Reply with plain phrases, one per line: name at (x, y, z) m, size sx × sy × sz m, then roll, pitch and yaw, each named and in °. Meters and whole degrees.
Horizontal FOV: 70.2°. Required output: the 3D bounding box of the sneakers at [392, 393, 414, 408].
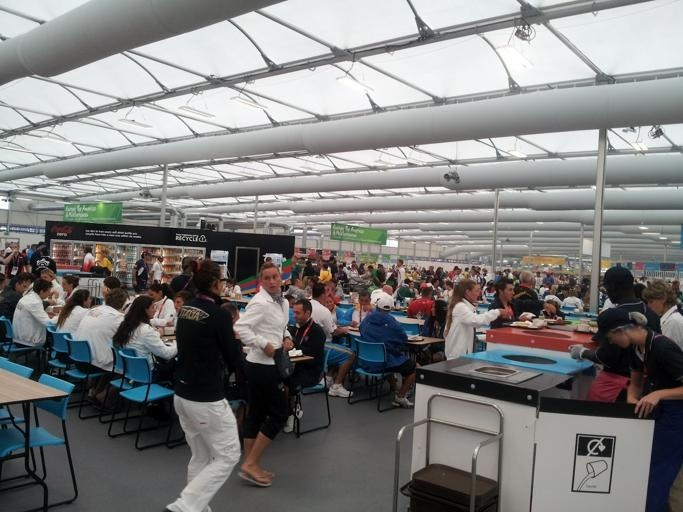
sneakers at (0.858, 2.139, 7.189) m, size 0.381 × 0.247 × 0.135 m, roll 1°, pitch -3°, yaw 1°

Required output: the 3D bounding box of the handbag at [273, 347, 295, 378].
handbag at (-0.581, 1.033, 4.740) m, size 0.091 × 0.261 × 0.216 m, roll -14°, pitch -18°, yaw -15°

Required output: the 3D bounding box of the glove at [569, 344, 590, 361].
glove at (2.333, 0.911, 4.748) m, size 0.172 × 0.166 × 0.124 m, roll 3°, pitch 2°, yaw 20°

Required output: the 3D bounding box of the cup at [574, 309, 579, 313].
cup at (5.844, 1.353, 12.083) m, size 0.122 × 0.078 × 0.087 m, roll -1°, pitch 7°, yaw -19°

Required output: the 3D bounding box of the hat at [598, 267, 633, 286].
hat at (2.703, 0.198, 4.787) m, size 0.194 × 0.143 × 0.254 m, roll 1°, pitch 0°, yaw 5°

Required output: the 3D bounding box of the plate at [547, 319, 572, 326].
plate at (2.997, 0.923, 6.742) m, size 0.221 × 0.050 × 0.210 m, roll 0°, pitch -2°, yaw 40°

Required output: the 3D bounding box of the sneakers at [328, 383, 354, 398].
sneakers at (-0.017, 2.072, 7.525) m, size 0.366 × 0.171 × 0.161 m, roll 2°, pitch -1°, yaw 7°

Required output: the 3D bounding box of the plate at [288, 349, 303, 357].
plate at (-0.558, 1.150, 5.774) m, size 0.056 × 0.067 × 0.168 m, roll -4°, pitch -7°, yaw 33°

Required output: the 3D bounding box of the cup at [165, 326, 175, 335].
cup at (-2.485, 1.061, 6.942) m, size 0.122 × 0.101 × 0.095 m, roll 3°, pitch -1°, yaw 14°

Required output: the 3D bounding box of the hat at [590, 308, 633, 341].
hat at (2.176, 0.586, 3.941) m, size 0.300 × 0.152 × 0.216 m, roll -29°, pitch -1°, yaw 29°

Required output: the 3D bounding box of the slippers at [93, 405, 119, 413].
slippers at (-3.079, 1.975, 6.315) m, size 0.216 × 0.130 × 0.119 m, roll -9°, pitch -35°, yaw 37°

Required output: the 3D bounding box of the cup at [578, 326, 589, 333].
cup at (3.080, 0.925, 6.181) m, size 0.181 × 0.081 × 0.263 m, roll 3°, pitch -1°, yaw 26°

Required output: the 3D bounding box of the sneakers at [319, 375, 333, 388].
sneakers at (-0.234, 1.870, 7.232) m, size 0.159 × 0.181 × 0.437 m, roll 3°, pitch -4°, yaw -1°
